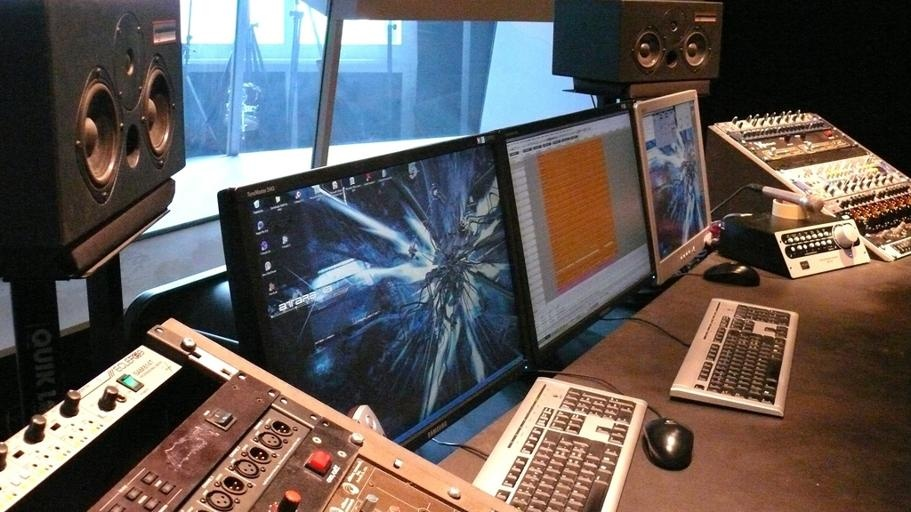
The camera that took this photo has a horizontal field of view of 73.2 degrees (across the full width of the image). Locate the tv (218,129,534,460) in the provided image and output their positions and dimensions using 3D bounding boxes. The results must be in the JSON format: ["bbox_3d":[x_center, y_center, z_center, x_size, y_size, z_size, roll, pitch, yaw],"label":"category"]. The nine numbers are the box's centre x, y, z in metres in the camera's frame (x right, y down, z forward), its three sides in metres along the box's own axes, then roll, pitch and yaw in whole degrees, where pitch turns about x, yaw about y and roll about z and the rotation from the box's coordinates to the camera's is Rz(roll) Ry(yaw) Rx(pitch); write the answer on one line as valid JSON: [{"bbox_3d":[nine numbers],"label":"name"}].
[{"bbox_3d":[-0.150,0.107,1.409,0.134,0.632,0.830,-14,0,43],"label":"tv"}]

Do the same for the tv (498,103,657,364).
[{"bbox_3d":[0.358,-0.057,1.818,0.058,0.554,0.705,5,35,42],"label":"tv"}]

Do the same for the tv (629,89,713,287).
[{"bbox_3d":[0.752,-0.232,2.179,0.088,0.721,0.700,-4,11,34],"label":"tv"}]

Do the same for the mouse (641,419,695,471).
[{"bbox_3d":[0.525,0.466,1.524,0.121,0.084,0.100,7,23,21],"label":"mouse"}]

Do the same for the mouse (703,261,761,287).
[{"bbox_3d":[1.013,0.059,2.241,0.162,0.048,0.094,10,17,25],"label":"mouse"}]

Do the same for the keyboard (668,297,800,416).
[{"bbox_3d":[0.810,0.336,1.805,0.262,0.061,0.469,9,31,20],"label":"keyboard"}]
